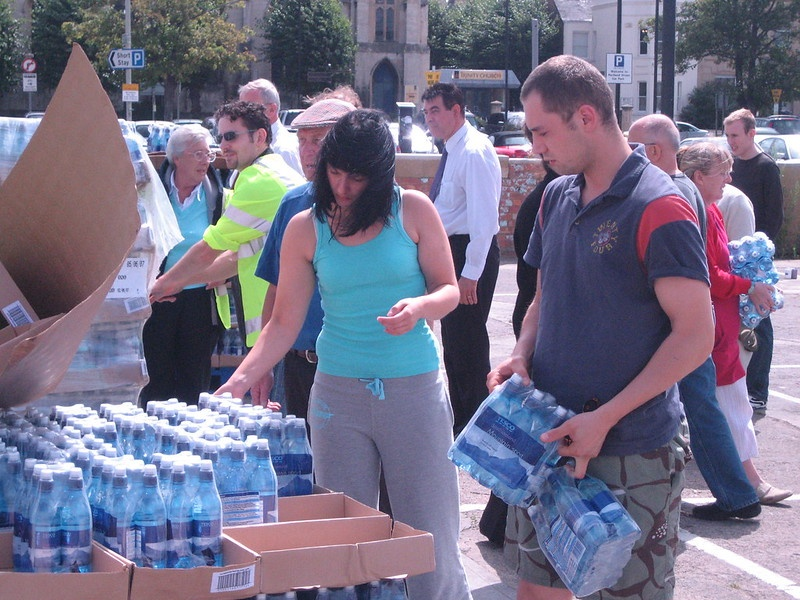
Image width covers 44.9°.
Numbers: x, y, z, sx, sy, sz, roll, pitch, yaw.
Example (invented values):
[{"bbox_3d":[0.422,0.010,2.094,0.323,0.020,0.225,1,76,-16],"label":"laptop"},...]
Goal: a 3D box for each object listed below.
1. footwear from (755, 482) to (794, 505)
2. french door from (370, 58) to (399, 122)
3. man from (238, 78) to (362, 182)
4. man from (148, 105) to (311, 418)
[{"bbox_3d":[2.320,1.215,6.025,0.254,0.129,0.117,-3,0,22],"label":"footwear"},{"bbox_3d":[-1.321,-16.577,76.191,1.899,5.739,0.446,-1,-25,0],"label":"french door"},{"bbox_3d":[-0.837,-1.191,6.686,0.521,0.534,1.212,-3,9,-11],"label":"man"},{"bbox_3d":[-0.936,-0.185,5.459,0.830,1.773,0.857,-1,6,14],"label":"man"}]
